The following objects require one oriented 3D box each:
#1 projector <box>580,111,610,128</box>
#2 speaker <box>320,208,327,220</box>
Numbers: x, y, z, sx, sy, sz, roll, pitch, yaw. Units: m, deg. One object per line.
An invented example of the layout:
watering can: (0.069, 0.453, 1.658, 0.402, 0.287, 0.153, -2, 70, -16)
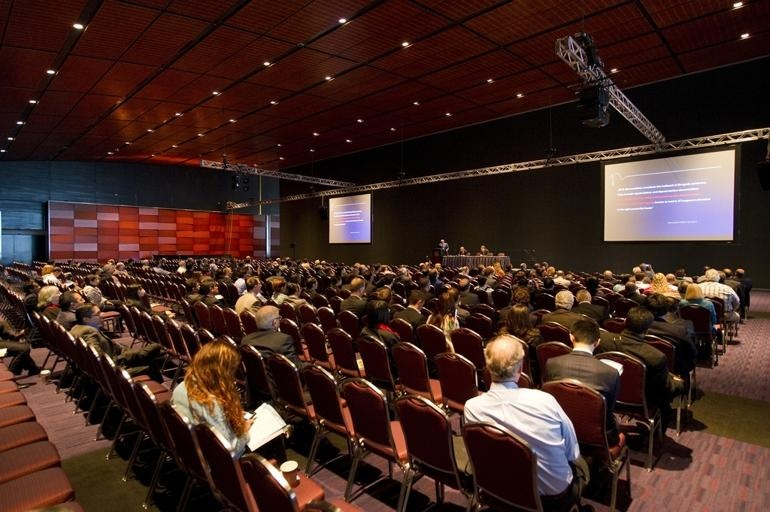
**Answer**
projector: (4.946, -3.244, 10.946, 0.612, 0.255, 0.356, -1, 0, -38)
speaker: (-3.262, -2.327, 25.190, 0.145, 0.506, 0.527, -1, 3, -39)
